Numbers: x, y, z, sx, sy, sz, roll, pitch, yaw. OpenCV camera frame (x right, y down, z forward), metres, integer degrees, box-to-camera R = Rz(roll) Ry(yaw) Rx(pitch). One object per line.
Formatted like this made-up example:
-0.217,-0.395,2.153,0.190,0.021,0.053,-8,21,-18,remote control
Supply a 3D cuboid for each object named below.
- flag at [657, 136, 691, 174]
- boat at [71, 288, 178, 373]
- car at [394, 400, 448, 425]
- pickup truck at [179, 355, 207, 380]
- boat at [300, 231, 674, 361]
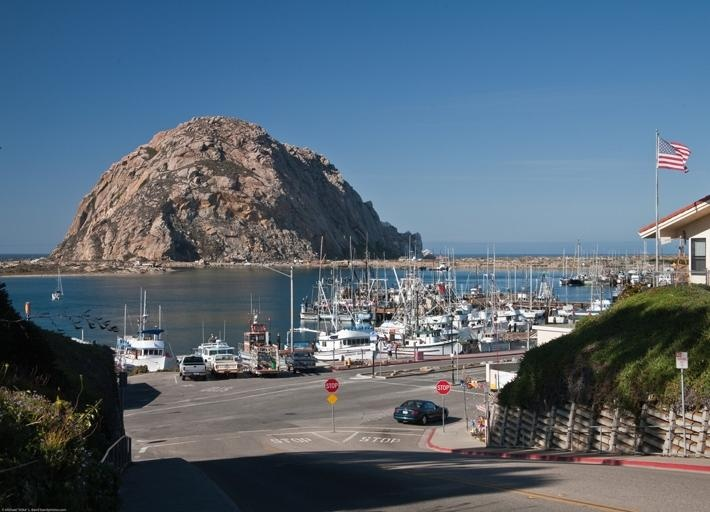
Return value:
15.564,-4.878,53.157,1.617,1.806,0.250,12,42,27,flag
-20.294,6.859,104.733,4.106,6.422,57.931,0,-3,-11,boat
3.347,8.173,56.587,2.393,1.136,1.020,1,-3,-27,car
-10.571,7.389,71.743,1.712,1.449,2.657,0,-3,-8,pickup truck
14.559,4.693,147.366,26.533,8.151,18.393,-3,4,-32,boat
